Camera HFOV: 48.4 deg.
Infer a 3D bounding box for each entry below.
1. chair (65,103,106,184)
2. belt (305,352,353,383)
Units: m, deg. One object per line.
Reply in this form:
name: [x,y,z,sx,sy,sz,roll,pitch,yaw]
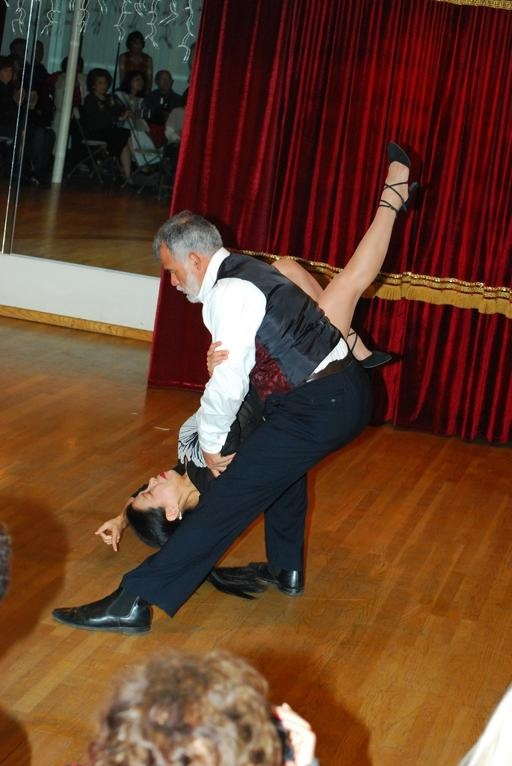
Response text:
chair: [-1.399,-2.014,4.715,0.373,0.565,0.311,6,41,0]
belt: [0.248,-0.054,1.898,0.117,0.038,0.082,-29,10,2]
